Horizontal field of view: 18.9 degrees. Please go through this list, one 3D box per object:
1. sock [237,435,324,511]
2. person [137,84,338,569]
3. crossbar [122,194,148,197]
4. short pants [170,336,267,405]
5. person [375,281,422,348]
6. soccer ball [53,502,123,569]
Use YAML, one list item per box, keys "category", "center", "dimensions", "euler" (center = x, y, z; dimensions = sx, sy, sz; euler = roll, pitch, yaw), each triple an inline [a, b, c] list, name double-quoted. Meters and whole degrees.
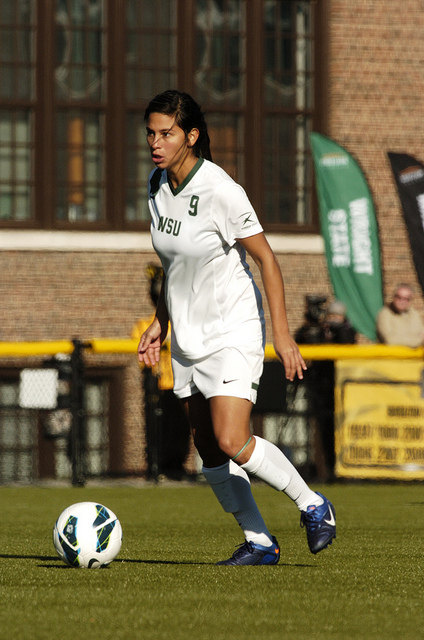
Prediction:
- category: "sock"
  center: [0.265, 0.589, 4.882]
  dimensions: [0.367, 0.273, 0.139]
  euler: [7, 0, -8]
- category: "person"
  center: [0.078, 0.034, 4.877]
  dimensions: [0.651, 1.565, 0.495]
  euler: [-2, -1, 7]
- category: "crossbar"
  center: [-0.899, -1.407, 14.404]
  dimensions: [0.282, 0.027, 0.078]
  euler: [-3, -1, -19]
- category: "short pants"
  center: [0.007, 0.201, 4.873]
  dimensions: [0.384, 0.214, 0.265]
  euler: [-4, -1, 11]
- category: "person"
  center: [1.740, -0.061, 11.809]
  dimensions: [0.421, 0.562, 1.195]
  euler: [-3, -1, 7]
- category: "soccer ball"
  center: [-0.475, 0.885, 5.046]
  dimensions: [0.248, 0.241, 0.262]
  euler: [-1, 16, 0]
